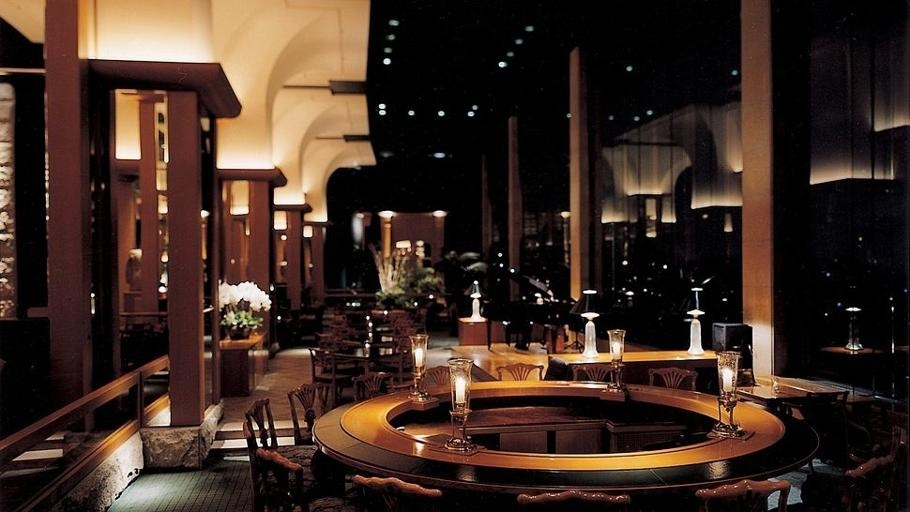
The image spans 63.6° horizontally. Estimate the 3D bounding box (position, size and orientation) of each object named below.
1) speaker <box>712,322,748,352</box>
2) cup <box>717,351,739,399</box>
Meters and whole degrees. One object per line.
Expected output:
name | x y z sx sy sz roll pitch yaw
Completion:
speaker | 4.283 1.275 11.556 0.504 0.401 0.473 0 -5 -4
cup | 3.268 1.423 8.731 0.264 0.571 0.205 -3 -3 5
